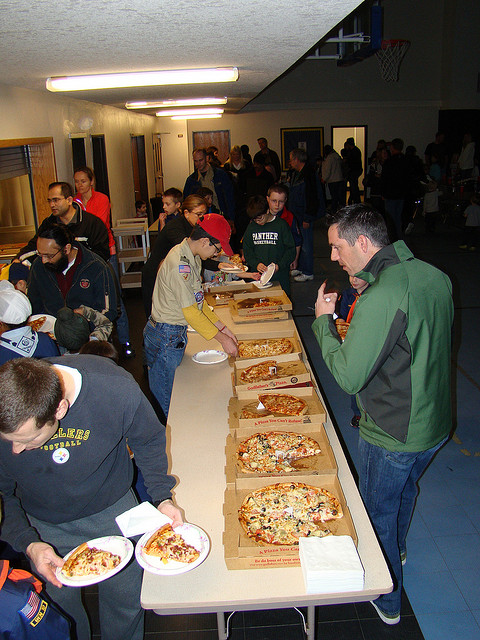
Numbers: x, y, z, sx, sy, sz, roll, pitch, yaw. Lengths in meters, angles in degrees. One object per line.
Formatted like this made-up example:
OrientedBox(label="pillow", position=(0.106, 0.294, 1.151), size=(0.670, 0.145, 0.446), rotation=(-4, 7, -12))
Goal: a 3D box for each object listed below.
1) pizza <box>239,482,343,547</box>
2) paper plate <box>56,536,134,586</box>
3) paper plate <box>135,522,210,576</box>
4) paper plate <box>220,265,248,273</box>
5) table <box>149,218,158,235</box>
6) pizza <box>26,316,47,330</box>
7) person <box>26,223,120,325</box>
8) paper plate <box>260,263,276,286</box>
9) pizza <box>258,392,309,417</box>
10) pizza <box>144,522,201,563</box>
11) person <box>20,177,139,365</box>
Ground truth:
OrientedBox(label="pizza", position=(0.163, 0.628, 1.512), size=(0.346, 0.049, 0.258), rotation=(-8, 19, -9))
OrientedBox(label="paper plate", position=(-0.402, 0.657, 1.276), size=(0.184, 0.060, 0.175), rotation=(-2, 14, -12))
OrientedBox(label="paper plate", position=(-0.198, 0.657, 1.323), size=(0.207, 0.033, 0.209), rotation=(-11, 20, -19))
OrientedBox(label="paper plate", position=(-0.052, -0.481, 4.270), size=(0.197, 0.086, 0.288), rotation=(-2, 19, 8))
OrientedBox(label="table", position=(-1.693, -1.785, 8.921), size=(0.160, 0.186, 0.944), rotation=(-8, 19, -7))
OrientedBox(label="pizza", position=(-1.280, 0.014, 2.871), size=(0.068, 0.036, 0.219), rotation=(-6, 19, -4))
OrientedBox(label="person", position=(-1.210, -0.315, 3.198), size=(0.615, 0.729, 0.399), rotation=(-12, 20, -19))
OrientedBox(label="paper plate", position=(0.215, -0.402, 4.025), size=(0.027, 0.162, 0.138), rotation=(24, 56, -5))
OrientedBox(label="pizza", position=(0.209, 0.405, 2.190), size=(0.163, 0.028, 0.096), rotation=(14, 26, 35))
OrientedBox(label="pizza", position=(-0.201, 0.662, 1.332), size=(0.171, 0.017, 0.103), rotation=(13, 25, 41))
OrientedBox(label="person", position=(-1.733, -0.184, 4.794), size=(1.337, 2.374, 0.836), rotation=(-1, 3, 2))
